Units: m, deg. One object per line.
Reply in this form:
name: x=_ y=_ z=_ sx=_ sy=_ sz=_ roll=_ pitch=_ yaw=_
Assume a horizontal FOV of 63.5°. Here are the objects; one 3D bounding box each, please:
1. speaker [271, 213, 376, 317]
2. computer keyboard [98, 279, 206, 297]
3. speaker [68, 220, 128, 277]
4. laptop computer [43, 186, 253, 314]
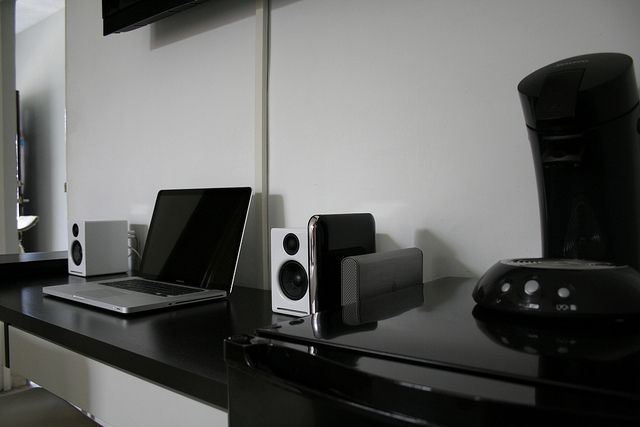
speaker: x=-0.013 y=0.123 z=1.459 sx=0.191 sy=0.334 sz=0.302 roll=3 pitch=5 yaw=42
computer keyboard: x=-0.525 y=0.228 z=1.606 sx=0.381 sy=0.023 sz=0.127 roll=-2 pitch=1 yaw=37
speaker: x=-0.858 y=0.125 z=1.999 sx=0.152 sy=0.205 sz=0.190 roll=1 pitch=1 yaw=43
laptop computer: x=-0.504 y=0.091 z=1.586 sx=0.458 sy=0.390 sz=0.398 roll=-2 pitch=1 yaw=38
